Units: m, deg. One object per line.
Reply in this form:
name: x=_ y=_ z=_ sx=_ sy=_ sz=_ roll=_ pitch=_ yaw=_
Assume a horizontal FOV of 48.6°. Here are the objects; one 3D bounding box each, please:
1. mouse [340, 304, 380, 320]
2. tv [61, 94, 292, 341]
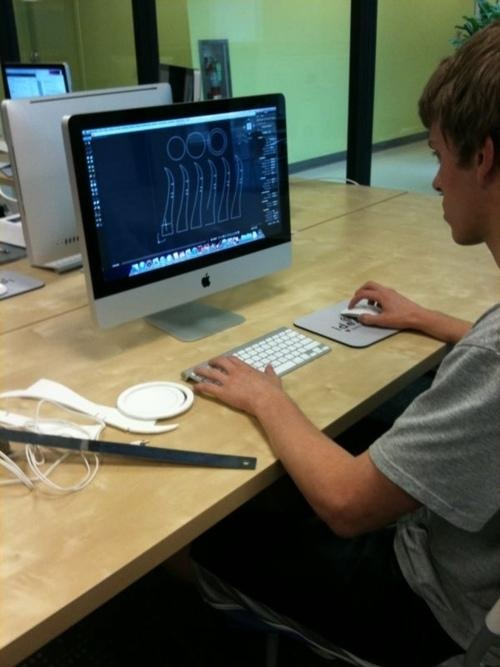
mouse: x=0.256 y=-0.054 z=1.266 sx=0.070 sy=0.020 sz=0.042 roll=11 pitch=31 yaw=28
tv: x=-0.135 y=-0.260 z=1.231 sx=0.174 sy=0.485 sz=0.578 roll=26 pitch=36 yaw=38
